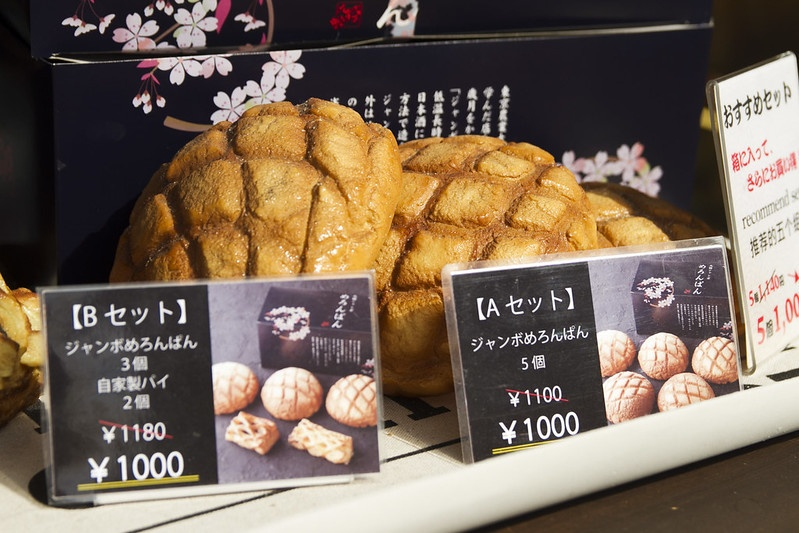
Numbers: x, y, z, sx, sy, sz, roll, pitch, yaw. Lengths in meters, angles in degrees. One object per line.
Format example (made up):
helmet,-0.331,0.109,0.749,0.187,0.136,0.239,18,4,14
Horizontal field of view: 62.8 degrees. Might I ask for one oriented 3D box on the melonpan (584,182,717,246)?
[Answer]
melonpan,0.563,-0.086,1.515,0.204,0.054,0.182,4,29,-43
